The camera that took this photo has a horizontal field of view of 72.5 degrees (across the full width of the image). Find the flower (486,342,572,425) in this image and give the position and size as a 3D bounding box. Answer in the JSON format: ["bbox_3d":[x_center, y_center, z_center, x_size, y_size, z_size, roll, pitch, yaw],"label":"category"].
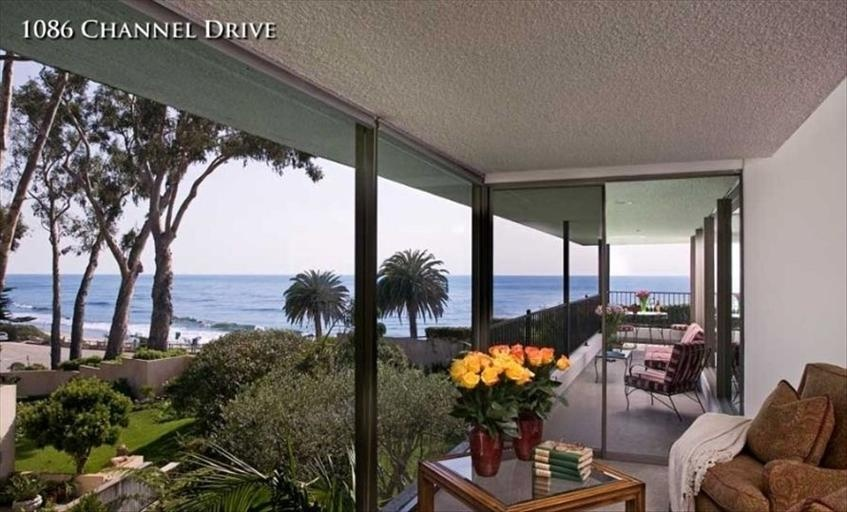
[{"bbox_3d":[0.813,0.826,4.066,0.562,0.599,0.617,-1,-4,23],"label":"flower"}]

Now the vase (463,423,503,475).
[{"bbox_3d":[0.420,1.313,3.874,0.256,0.281,0.246,2,-8,-29],"label":"vase"}]

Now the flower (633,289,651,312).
[{"bbox_3d":[3.453,0.704,9.058,0.220,0.295,0.272,0,-7,21],"label":"flower"}]

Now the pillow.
[{"bbox_3d":[2.522,1.169,3.960,0.222,0.424,0.573,10,-10,9],"label":"pillow"}]
